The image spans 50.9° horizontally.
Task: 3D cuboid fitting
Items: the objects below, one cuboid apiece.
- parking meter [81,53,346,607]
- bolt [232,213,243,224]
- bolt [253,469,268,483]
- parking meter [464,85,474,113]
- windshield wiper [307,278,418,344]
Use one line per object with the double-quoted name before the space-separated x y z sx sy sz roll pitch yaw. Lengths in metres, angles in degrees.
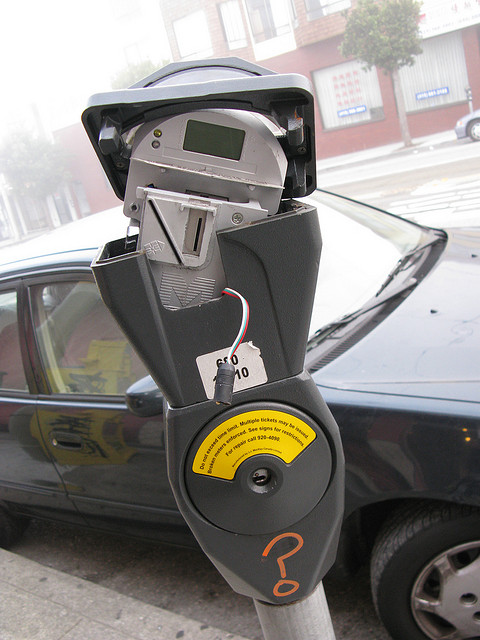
"parking meter" 0.018 0.066 0.908 0.434 0.933 0.350 -11 16 3
"bolt" -0.003 -0.149 0.753 0.015 0.013 0.004 -3 5 -4
"bolt" 0.033 0.253 0.820 0.028 0.024 0.006 1 20 -3
"parking meter" 7.858 -7.550 17.353 0.253 0.967 0.247 -1 6 25
"windshield wiper" 0.453 -0.020 1.852 0.650 0.067 0.068 -19 54 -32
